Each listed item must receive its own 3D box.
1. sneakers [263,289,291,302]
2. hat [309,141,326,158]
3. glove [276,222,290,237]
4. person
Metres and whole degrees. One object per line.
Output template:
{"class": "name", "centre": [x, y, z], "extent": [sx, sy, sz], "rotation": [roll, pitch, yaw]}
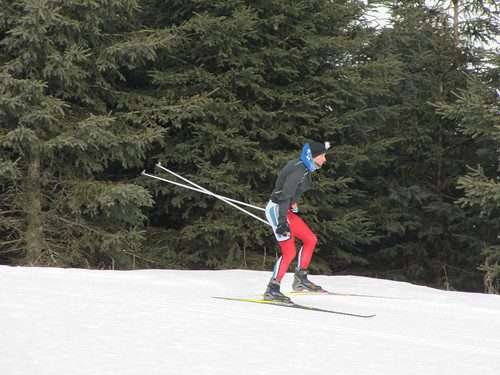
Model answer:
{"class": "sneakers", "centre": [0.446, 1.867, 13.779], "extent": [0.496, 0.156, 0.173], "rotation": [3, -6, 18]}
{"class": "hat", "centre": [1.173, -0.688, 14.221], "extent": [0.359, 0.226, 0.247], "rotation": [21, 15, 16]}
{"class": "glove", "centre": [0.567, 0.715, 13.874], "extent": [0.205, 0.220, 0.129], "rotation": [25, -32, 0]}
{"class": "person", "centre": [0.813, 0.580, 14.259], "extent": [1.068, 2.841, 1.054], "rotation": [7, -4, 7]}
